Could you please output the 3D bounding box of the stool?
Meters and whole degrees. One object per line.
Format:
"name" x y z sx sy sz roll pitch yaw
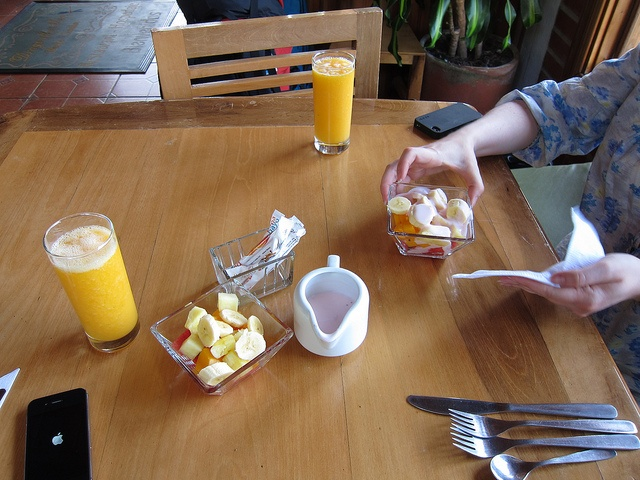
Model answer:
"stool" 0.310 -0.986 2.725 0.518 0.524 0.565 0 52 0

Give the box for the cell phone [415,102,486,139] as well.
"cell phone" 0.360 -0.355 1.266 0.178 0.036 0.100 -23 45 -23

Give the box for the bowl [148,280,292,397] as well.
"bowl" -0.170 0.165 0.809 0.198 0.076 0.167 -31 58 -23

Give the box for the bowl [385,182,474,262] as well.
"bowl" 0.198 -0.043 0.986 0.202 0.105 0.198 -7 41 6
